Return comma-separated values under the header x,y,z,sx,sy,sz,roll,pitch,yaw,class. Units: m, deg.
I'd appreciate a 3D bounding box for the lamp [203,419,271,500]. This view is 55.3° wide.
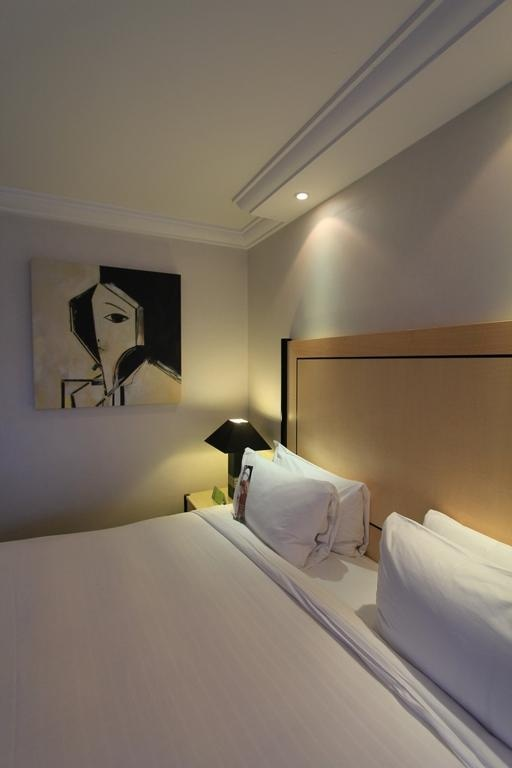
x,y,z,sx,sy,sz,roll,pitch,yaw,class
-0.141,0.338,2.724,0.327,0.606,0.378,-1,5,-25,lamp
